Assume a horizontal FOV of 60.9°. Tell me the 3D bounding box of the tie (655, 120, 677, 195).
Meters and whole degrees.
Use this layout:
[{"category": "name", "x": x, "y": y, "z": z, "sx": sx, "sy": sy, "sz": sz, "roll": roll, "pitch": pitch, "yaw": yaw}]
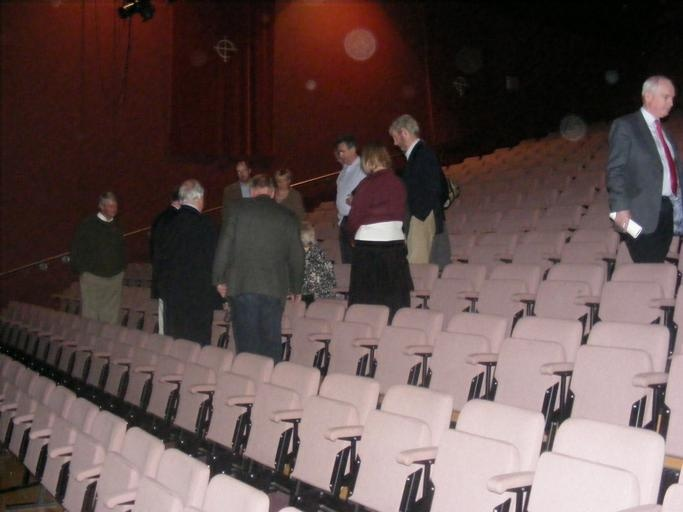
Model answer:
[{"category": "tie", "x": 1.932, "y": -0.628, "z": 3.450, "sx": 0.080, "sy": 0.589, "sz": 0.061, "roll": -1, "pitch": -8, "yaw": -2}]
